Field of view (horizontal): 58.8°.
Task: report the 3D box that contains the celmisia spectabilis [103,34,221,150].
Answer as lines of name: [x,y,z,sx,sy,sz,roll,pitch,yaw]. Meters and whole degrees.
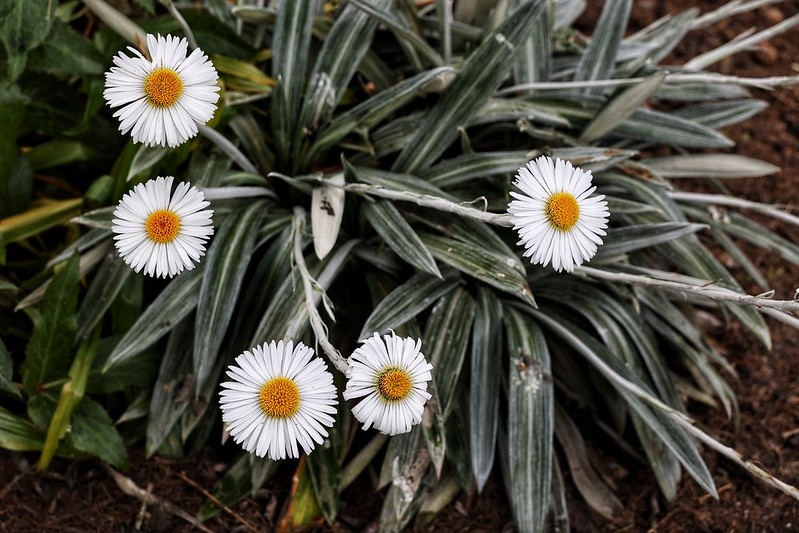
celmisia spectabilis: [-0.555,-0.429,1.656,0.199,0.223,0.095,-11,82,4]

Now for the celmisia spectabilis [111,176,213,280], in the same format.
celmisia spectabilis: [-0.561,-0.117,1.662,0.204,0.202,0.093,21,46,-57]

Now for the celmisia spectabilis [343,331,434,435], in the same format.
celmisia spectabilis: [-0.030,0.255,1.579,0.192,0.148,0.166,6,49,-12]

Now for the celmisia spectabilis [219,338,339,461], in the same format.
celmisia spectabilis: [-0.269,0.300,1.572,0.259,0.105,0.284,12,14,21]

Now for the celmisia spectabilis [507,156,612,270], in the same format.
celmisia spectabilis: [0.380,-0.145,1.661,0.233,0.246,0.104,29,68,-33]
